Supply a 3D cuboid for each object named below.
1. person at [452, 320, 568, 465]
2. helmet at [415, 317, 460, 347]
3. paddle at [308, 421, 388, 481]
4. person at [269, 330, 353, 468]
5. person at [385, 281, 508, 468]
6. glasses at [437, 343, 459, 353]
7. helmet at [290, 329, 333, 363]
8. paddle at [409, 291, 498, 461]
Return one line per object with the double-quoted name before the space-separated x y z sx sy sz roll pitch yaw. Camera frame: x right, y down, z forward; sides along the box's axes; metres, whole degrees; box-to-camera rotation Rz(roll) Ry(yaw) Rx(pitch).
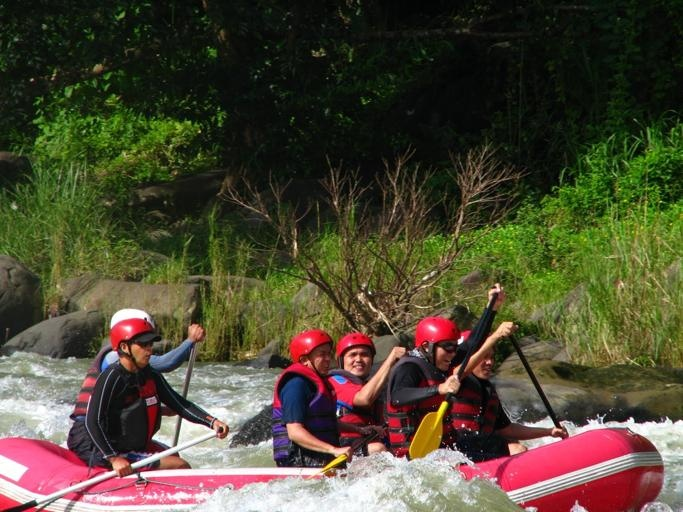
"person" 1.829 1.960 11.115 0.951 2.029 1.188 27 -44 -33
"helmet" 1.131 0.929 11.026 0.388 0.360 0.321 -17 -13 26
"paddle" 0.113 2.195 10.805 0.323 0.141 1.428 5 18 35
"person" -0.270 2.114 11.131 0.871 2.480 1.114 0 0 20
"person" 1.127 1.868 11.196 1.005 3.276 0.842 6 11 -14
"glasses" 1.267 1.066 10.979 0.124 0.061 0.175 15 4 -8
"helmet" -0.373 0.989 11.246 0.415 0.437 0.364 -28 -19 11
"paddle" 1.370 1.528 11.375 0.187 2.985 0.526 15 -17 33
